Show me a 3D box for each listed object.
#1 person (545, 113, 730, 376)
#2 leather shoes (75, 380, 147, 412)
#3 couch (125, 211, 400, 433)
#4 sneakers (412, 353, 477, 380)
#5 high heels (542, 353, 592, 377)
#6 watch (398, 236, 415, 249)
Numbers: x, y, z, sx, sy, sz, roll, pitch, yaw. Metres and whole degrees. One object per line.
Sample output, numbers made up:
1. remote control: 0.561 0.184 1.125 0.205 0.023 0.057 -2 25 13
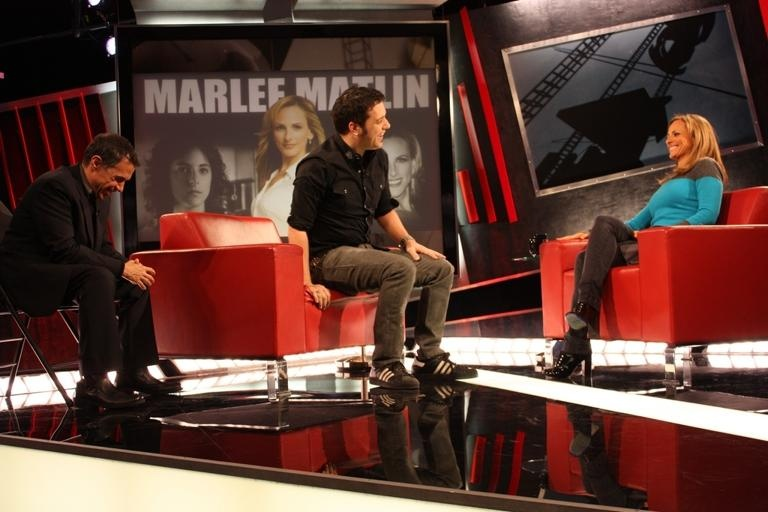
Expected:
1. person: 1.560 -0.105 4.178 1.080 1.780 0.590 12 -17 -5
2. leather shoes: -1.348 0.699 3.487 0.418 0.190 0.140 2 1 0
3. couch: -0.668 0.246 4.070 1.015 1.240 1.339 -3 -1 31
4. sneakers: 0.342 0.646 4.000 0.406 0.172 0.139 0 -5 1
5. high heels: 1.057 0.634 3.949 0.319 0.164 0.125 -2 -1 3
6. watch: 0.127 -0.072 4.045 0.080 0.052 0.080 -11 -31 4
